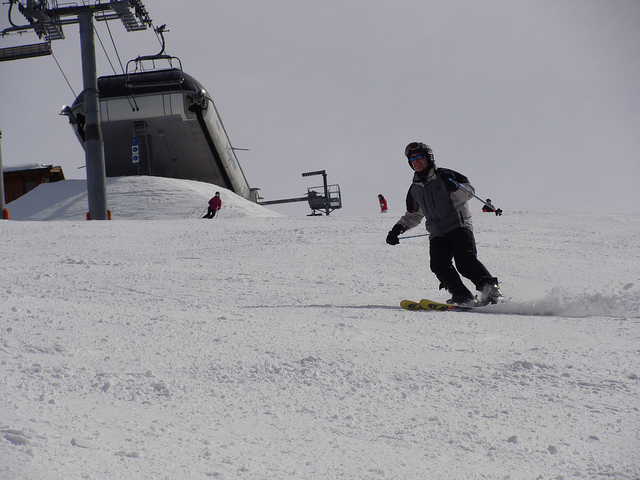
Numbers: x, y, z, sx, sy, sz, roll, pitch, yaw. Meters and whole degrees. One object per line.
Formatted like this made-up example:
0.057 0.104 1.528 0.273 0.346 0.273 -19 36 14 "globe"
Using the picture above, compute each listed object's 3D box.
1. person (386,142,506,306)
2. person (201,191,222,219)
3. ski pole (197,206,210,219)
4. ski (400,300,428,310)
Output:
1.213 -0.182 6.510 0.553 1.505 1.262 0 4 -36 "person"
-3.223 -1.048 19.873 0.427 0.742 1.227 2 4 -10 "person"
-3.746 -0.903 21.360 0.070 0.041 1.039 -53 2 33 "ski pole"
0.853 0.585 6.072 0.219 0.056 0.136 2 4 -14 "ski"
